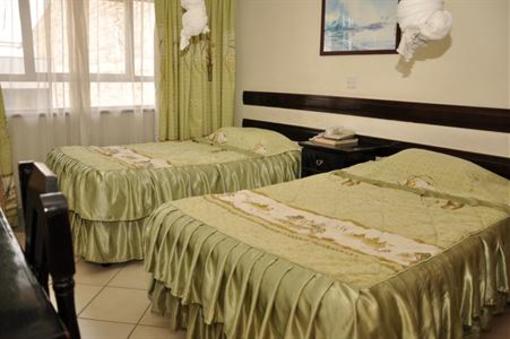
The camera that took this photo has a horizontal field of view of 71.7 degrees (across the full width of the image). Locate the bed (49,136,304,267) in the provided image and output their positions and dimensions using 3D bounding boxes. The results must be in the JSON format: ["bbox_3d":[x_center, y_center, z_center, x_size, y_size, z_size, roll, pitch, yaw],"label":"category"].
[{"bbox_3d":[-0.782,0.152,3.712,1.998,0.587,1.258,-5,11,-38],"label":"bed"}]
